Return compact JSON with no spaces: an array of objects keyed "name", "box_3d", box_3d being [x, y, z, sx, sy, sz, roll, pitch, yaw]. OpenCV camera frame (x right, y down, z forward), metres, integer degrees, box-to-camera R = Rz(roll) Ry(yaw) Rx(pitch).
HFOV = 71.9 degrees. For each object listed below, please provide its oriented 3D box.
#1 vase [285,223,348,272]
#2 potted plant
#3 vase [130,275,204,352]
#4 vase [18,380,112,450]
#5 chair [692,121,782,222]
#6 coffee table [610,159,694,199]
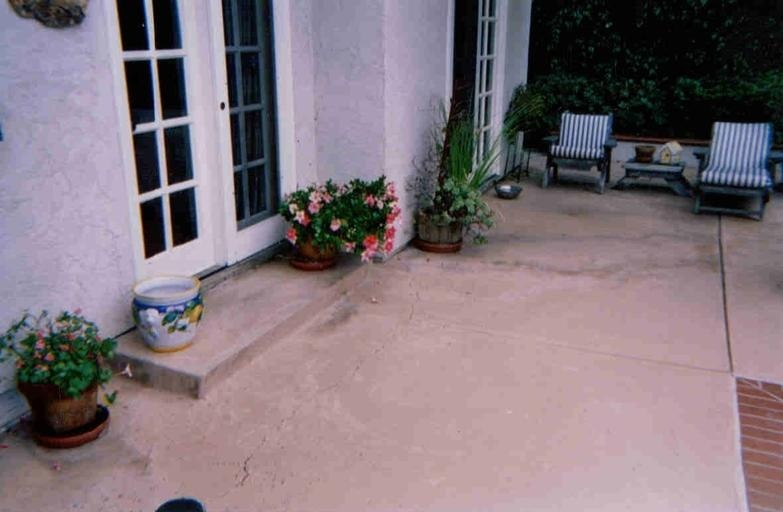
[{"name":"vase","box_3d":[-0.692,-0.122,4.866,0.448,0.477,0.461,-14,21,-37]},{"name":"potted plant","box_3d":[0.951,-1.146,6.318,0.816,1.391,2.709,7,23,18]},{"name":"vase","box_3d":[-1.483,0.339,3.722,0.443,0.458,0.509,3,14,0]},{"name":"vase","box_3d":[-1.958,0.825,3.215,0.439,0.347,0.428,-4,16,-44]},{"name":"chair","box_3d":[4.313,-0.970,6.906,0.915,0.957,1.432,9,50,24]},{"name":"coffee table","box_3d":[3.670,-1.140,7.552,0.980,0.404,0.662,11,25,24]}]
